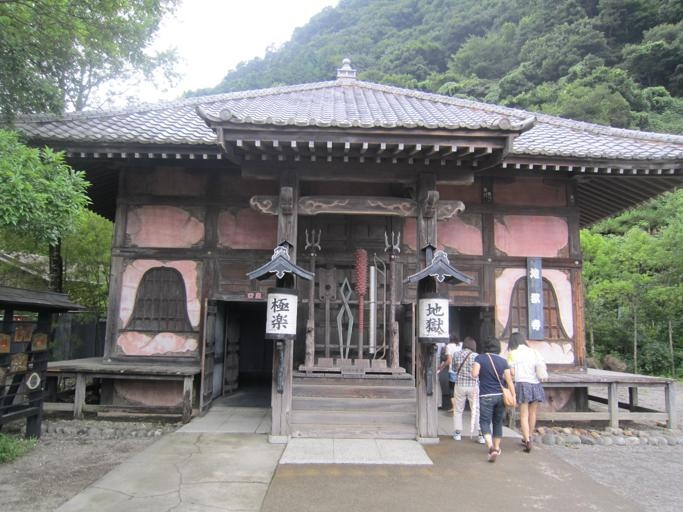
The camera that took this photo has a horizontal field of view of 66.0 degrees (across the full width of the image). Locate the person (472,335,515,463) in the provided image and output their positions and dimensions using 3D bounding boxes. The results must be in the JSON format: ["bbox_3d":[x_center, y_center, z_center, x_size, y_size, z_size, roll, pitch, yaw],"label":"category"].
[{"bbox_3d":[2.716,2.589,9.527,0.747,2.128,0.614,3,5,13],"label":"person"}]

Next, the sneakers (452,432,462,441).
[{"bbox_3d":[2.264,3.564,10.391,0.086,0.145,0.236,0,-2,3],"label":"sneakers"}]

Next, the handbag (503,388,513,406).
[{"bbox_3d":[2.937,2.496,9.331,0.139,0.282,0.277,-9,-13,24],"label":"handbag"}]

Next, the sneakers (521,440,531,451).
[{"bbox_3d":[3.480,3.560,9.937,0.166,0.197,0.319,3,5,16],"label":"sneakers"}]
